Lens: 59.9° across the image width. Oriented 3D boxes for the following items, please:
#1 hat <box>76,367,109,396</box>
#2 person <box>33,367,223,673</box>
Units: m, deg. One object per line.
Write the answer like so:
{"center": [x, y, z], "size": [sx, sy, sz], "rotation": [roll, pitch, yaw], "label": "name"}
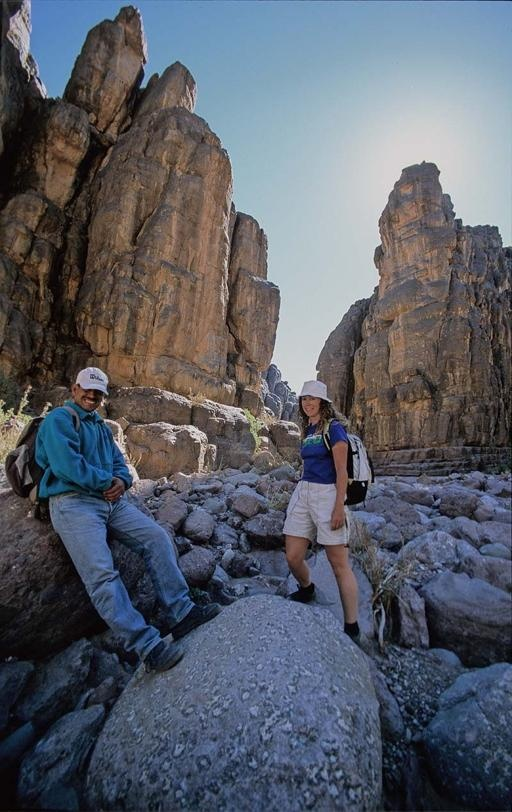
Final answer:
{"center": [-1.038, -0.172, 2.834], "size": [0.144, 0.132, 0.213], "rotation": [15, -4, -41], "label": "hat"}
{"center": [-0.778, 0.607, 2.553], "size": [1.143, 1.580, 0.647], "rotation": [7, 5, 33], "label": "person"}
